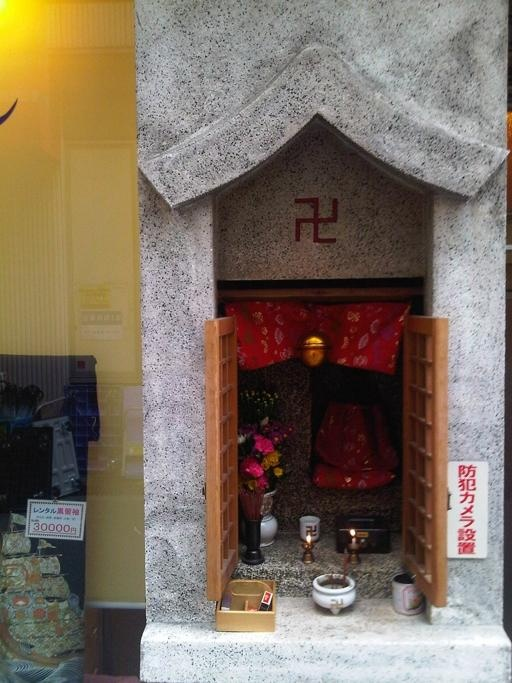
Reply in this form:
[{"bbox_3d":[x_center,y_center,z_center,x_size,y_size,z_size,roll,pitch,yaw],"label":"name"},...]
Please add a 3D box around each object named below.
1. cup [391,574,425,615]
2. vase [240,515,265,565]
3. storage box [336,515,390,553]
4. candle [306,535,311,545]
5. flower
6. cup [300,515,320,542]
[{"bbox_3d":[0.778,1.316,3.256,0.174,0.173,0.160,0,-1,0],"label":"cup"},{"bbox_3d":[-0.021,1.111,3.495,0.123,0.248,0.198,0,-6,-2],"label":"vase"},{"bbox_3d":[0.609,1.122,3.589,0.312,0.181,0.313,1,-6,-7],"label":"storage box"},{"bbox_3d":[0.291,1.104,3.460,0.024,0.054,0.065,0,-5,0],"label":"candle"},{"bbox_3d":[0.057,0.737,3.637,0.227,0.560,0.520,-2,-6,25],"label":"flower"},{"bbox_3d":[0.340,1.130,3.750,0.133,0.127,0.123,2,-4,0],"label":"cup"}]
